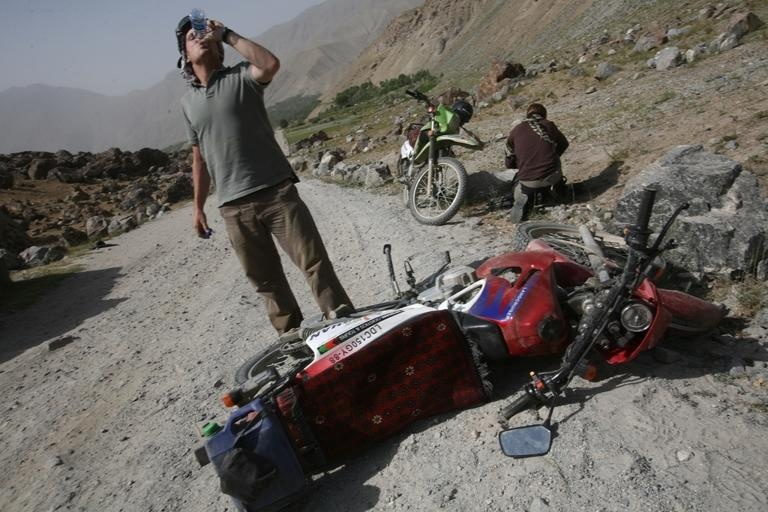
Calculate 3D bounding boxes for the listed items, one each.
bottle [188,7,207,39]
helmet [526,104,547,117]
[{"bbox_3d":[-1.900,-2.388,5.151,0.156,0.260,0.237,-22,25,-17],"label":"bottle"},{"bbox_3d":[2.843,-2.725,9.390,0.323,0.303,0.361,-3,23,19],"label":"helmet"}]
